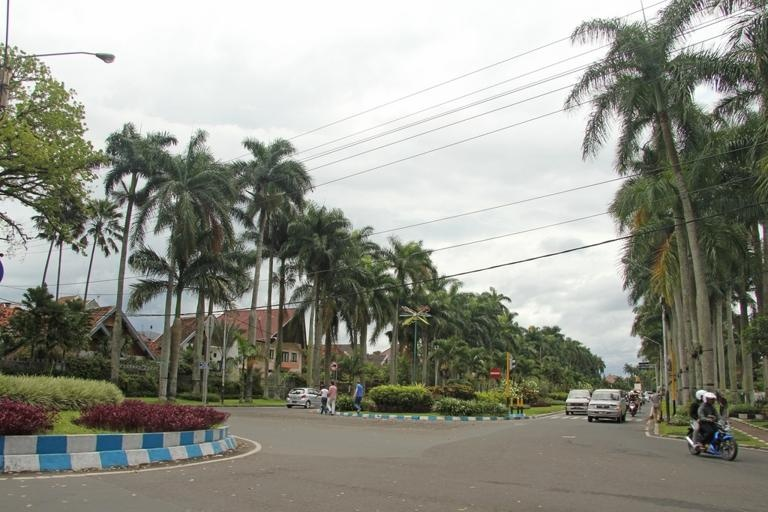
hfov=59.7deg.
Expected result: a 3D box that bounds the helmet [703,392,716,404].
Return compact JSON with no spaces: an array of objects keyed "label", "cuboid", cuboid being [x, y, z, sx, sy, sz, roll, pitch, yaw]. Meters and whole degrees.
[{"label":"helmet","cuboid":[12.064,5.208,24.845,0.407,0.370,0.626,-6,-16,30]}]

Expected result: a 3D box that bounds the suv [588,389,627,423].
[{"label":"suv","cuboid":[14.315,9.532,42.798,1.684,1.321,3.081,-6,-21,19]}]

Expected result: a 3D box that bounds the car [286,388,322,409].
[{"label":"car","cuboid":[-5.946,10.875,51.718,1.373,0.919,2.652,-3,-8,21]}]

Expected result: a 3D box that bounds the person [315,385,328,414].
[{"label":"person","cuboid":[-3.854,9.391,43.491,0.487,1.561,1.625,2,-13,-4]}]
